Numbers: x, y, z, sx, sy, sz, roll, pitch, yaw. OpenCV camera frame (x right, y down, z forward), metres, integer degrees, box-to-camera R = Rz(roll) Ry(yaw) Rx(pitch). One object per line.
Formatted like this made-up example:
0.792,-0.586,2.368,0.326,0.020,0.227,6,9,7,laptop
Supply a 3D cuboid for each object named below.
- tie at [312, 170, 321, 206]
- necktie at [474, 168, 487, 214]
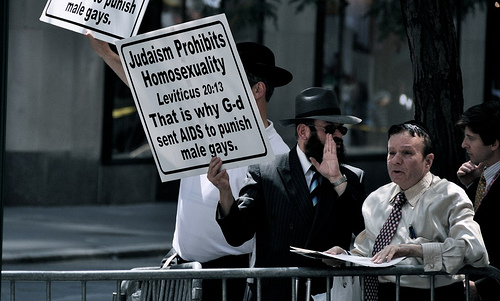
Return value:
0.894,0.496,14.152,0.084,0.341,0.265,6,-11,2,tie
3.192,0.546,14.399,0.197,0.541,0.153,-5,-9,10,necktie
